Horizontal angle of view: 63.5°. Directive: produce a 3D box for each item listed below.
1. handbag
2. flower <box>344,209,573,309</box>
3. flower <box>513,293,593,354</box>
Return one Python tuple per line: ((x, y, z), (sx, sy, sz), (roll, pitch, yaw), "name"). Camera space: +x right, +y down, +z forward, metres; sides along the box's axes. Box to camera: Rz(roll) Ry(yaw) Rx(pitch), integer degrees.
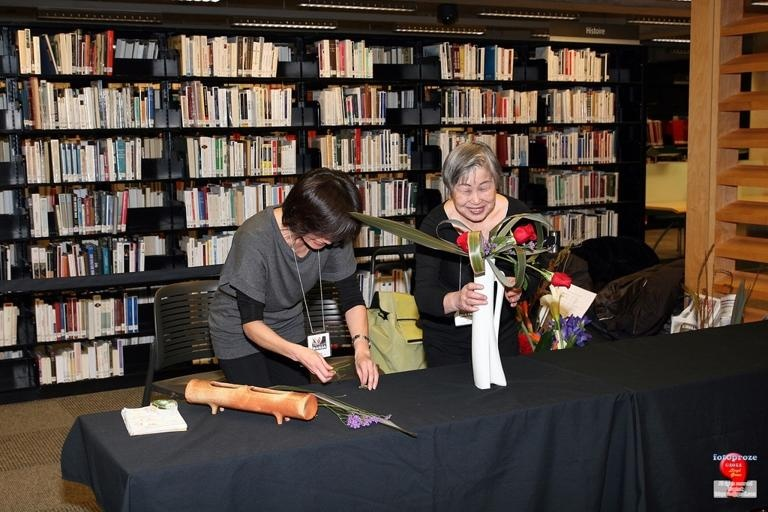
((2.175, 0.383, 5.241), (0.798, 0.281, 0.493), (-26, 5, -29), "handbag")
((0.328, -0.011, 2.818), (0.903, 0.450, 0.682), (0, 14, 7), "flower")
((0.911, 0.393, 3.390), (0.379, 0.315, 0.375), (2, 8, 11), "flower")
